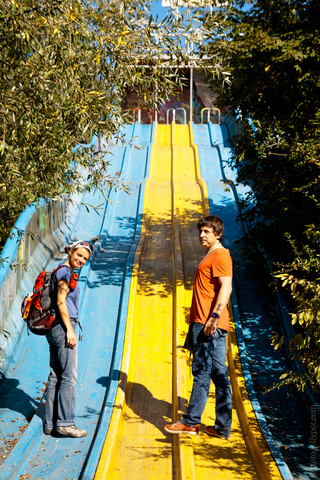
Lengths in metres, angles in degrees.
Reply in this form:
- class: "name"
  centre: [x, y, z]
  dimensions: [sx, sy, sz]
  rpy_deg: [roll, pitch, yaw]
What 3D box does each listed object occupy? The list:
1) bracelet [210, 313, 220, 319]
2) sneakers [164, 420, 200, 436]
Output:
- class: "bracelet"
  centre: [0.345, 0.460, 2.258]
  dimensions: [0.036, 0.044, 0.027]
  rpy_deg: [14, 79, -19]
- class: "sneakers"
  centre: [0.147, 1.238, 2.491]
  dimensions: [0.253, 0.097, 0.103]
  rpy_deg: [6, 82, 5]
